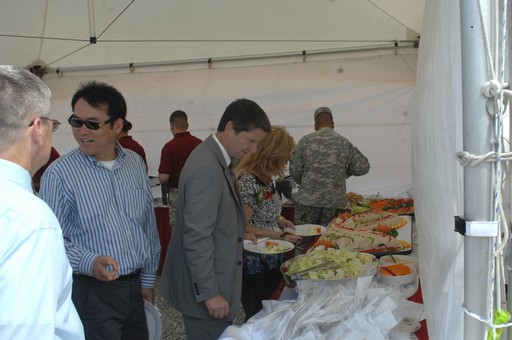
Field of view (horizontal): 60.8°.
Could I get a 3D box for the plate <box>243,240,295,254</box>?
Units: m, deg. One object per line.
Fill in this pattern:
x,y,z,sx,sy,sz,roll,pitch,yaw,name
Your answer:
0.068,0.511,2.910,0.165,0.025,0.170,2,4,24,plate

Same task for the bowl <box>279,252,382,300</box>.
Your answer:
0.396,0.471,2.263,0.478,0.217,0.460,-4,6,0,bowl

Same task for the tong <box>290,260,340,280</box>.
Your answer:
0.302,0.494,2.276,0.178,0.087,0.170,-1,5,27,tong
